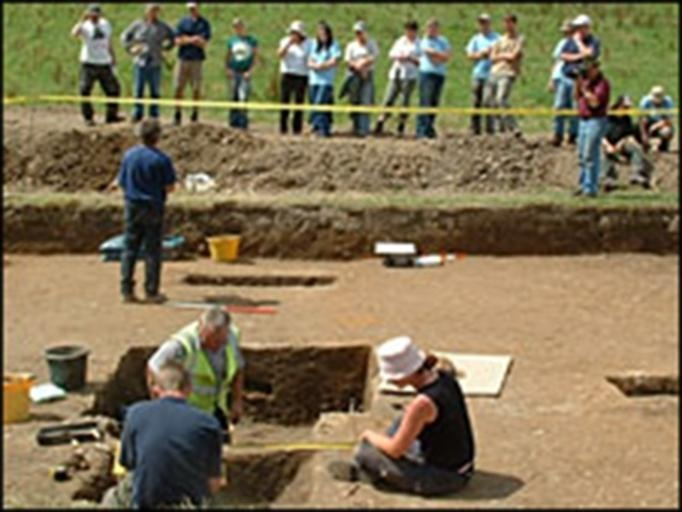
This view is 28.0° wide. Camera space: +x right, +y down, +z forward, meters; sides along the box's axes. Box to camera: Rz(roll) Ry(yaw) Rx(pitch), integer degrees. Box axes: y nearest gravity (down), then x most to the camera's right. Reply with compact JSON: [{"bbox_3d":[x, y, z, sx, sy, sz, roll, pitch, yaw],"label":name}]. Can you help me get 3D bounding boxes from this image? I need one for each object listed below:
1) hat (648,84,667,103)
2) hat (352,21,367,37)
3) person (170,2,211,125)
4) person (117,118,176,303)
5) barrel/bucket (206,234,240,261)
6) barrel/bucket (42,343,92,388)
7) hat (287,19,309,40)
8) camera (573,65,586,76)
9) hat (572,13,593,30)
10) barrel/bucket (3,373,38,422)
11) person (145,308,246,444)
[{"bbox_3d":[4.909,-2.495,21.083,0.265,0.276,0.364,2,6,13],"label":"hat"},{"bbox_3d":[0.292,-3.575,21.197,0.214,0.183,0.330,1,-1,9],"label":"hat"},{"bbox_3d":[-2.432,-3.367,22.174,0.543,1.563,0.997,0,6,-7],"label":"person"},{"bbox_3d":[-2.695,-0.616,18.667,0.726,2.566,0.969,-1,6,-19],"label":"person"},{"bbox_3d":[-1.844,-0.149,21.286,0.493,0.394,0.271,-1,6,-19],"label":"barrel/bucket"},{"bbox_3d":[-3.497,1.376,17.516,0.566,0.454,0.528,1,2,0],"label":"barrel/bucket"},{"bbox_3d":[-0.679,-3.590,21.510,0.276,0.307,0.455,0,5,-3],"label":"hat"},{"bbox_3d":[3.527,-2.755,20.051,0.066,0.189,0.184,30,-25,-36],"label":"camera"},{"bbox_3d":[3.558,-3.483,20.117,0.247,0.187,0.544,1,5,6],"label":"hat"},{"bbox_3d":[-4.017,1.718,17.001,0.592,0.619,0.482,3,12,-7],"label":"barrel/bucket"},{"bbox_3d":[-1.691,1.756,16.257,1.056,2.581,0.708,-1,25,-10],"label":"person"}]
